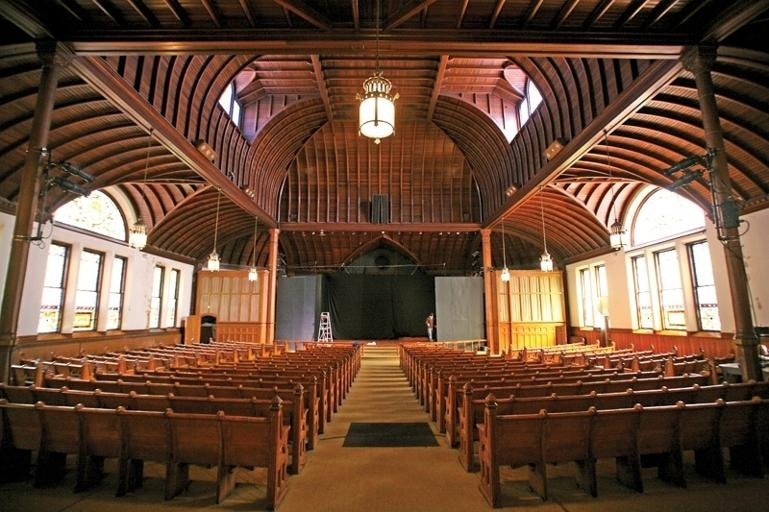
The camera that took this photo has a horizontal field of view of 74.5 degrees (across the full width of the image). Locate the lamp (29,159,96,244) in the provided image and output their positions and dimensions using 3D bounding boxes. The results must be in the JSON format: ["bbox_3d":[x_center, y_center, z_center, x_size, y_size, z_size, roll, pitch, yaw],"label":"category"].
[{"bbox_3d":[-9.639,-1.677,15.025,1.487,2.827,0.752,16,-20,-35],"label":"lamp"}]
